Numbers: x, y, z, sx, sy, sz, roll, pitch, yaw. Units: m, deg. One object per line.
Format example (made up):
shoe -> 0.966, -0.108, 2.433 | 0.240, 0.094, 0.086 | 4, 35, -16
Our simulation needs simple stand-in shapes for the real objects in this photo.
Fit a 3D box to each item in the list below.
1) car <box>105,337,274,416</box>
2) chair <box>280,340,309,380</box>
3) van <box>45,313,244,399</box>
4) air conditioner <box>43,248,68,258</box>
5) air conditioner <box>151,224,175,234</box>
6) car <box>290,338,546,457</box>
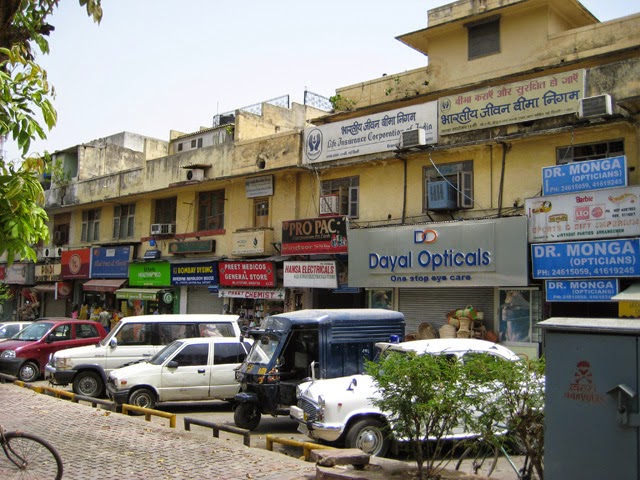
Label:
car -> -3.444, 3.334, 16.937 | 3.159, 1.483, 1.846 | 5, -10, -24
chair -> -0.560, 2.696, 15.215 | 0.616, 1.095, 0.782 | 0, -2, 11
van -> -4.894, 2.908, 18.386 | 4.461, 1.877, 2.423 | 2, -8, -16
air conditioner -> -14.089, 0.659, 35.979 | 2.033, 0.572, 0.325 | -7, -12, 39
air conditioner -> -6.881, -0.487, 29.592 | 1.130, 0.534, 0.434 | -1, -10, 14
car -> 1.686, 2.965, 12.756 | 3.909, 1.449, 2.159 | 3, -8, -18
